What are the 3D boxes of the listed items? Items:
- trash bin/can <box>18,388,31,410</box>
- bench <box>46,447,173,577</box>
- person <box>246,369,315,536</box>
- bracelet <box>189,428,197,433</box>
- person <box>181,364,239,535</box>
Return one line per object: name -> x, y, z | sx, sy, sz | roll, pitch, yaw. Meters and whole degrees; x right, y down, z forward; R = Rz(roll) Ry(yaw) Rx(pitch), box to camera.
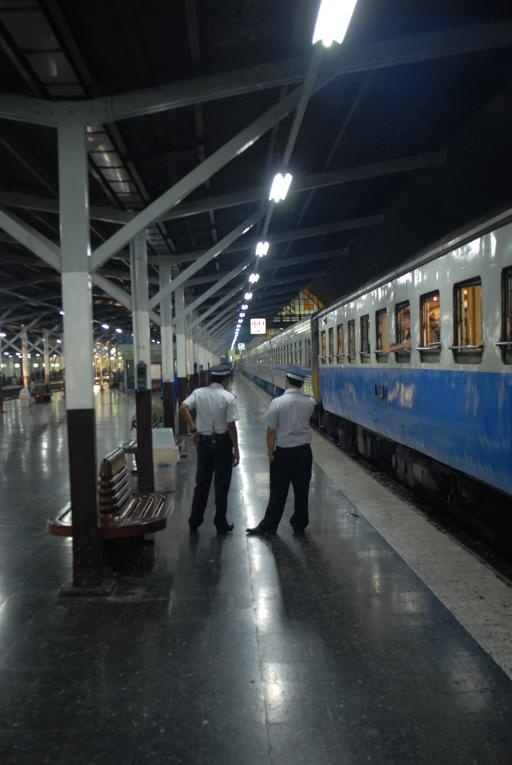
trash bin/can -> -11.574, 0.764, 28.280 | 0.456, 0.931, 1.124 | -1, 0, -26
bench -> -1.249, 1.106, 5.096 | 0.938, 0.870, 1.276 | -1, 0, -9
person -> 0.282, 0.712, 5.659 | 0.604, 1.619, 0.422 | -1, 0, -2
bracelet -> -0.614, 0.470, 5.521 | 0.054, 0.039, 0.113 | -1, 0, -12
person -> -0.465, 0.672, 5.718 | 0.535, 1.211, 0.582 | -1, 0, -9
